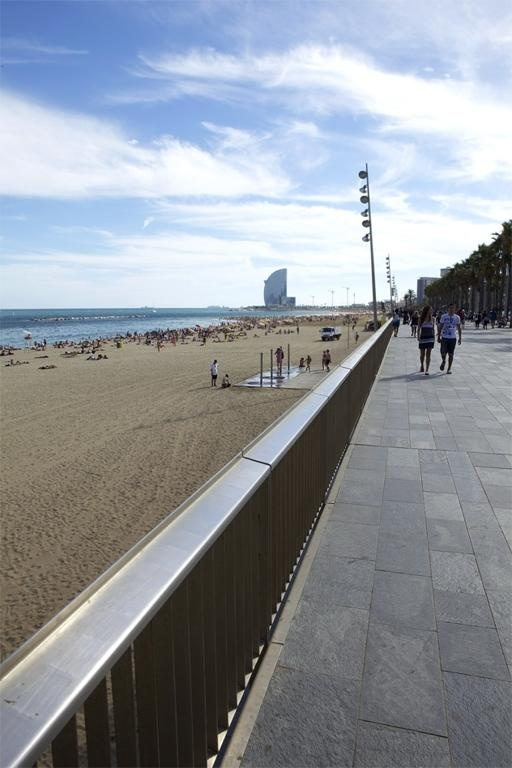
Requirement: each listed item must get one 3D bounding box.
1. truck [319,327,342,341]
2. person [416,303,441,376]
[{"bbox_3d":[9.112,-6.088,58.819,2.542,1.623,1.710,-5,8,-36],"label":"truck"},{"bbox_3d":[4.315,-1.108,12.146,0.365,1.651,3.062,2,7,20],"label":"person"}]
